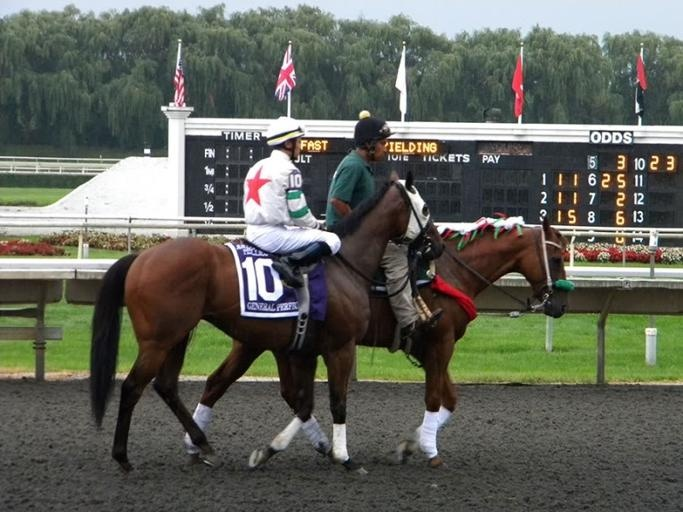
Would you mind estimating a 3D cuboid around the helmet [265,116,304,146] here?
[{"bbox_3d":[-0.705,-1.527,15.147,0.396,0.280,0.308,-16,14,-2],"label":"helmet"}]

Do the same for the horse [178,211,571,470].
[{"bbox_3d":[0.588,1.048,15.653,4.622,3.295,1.231,2,-20,3],"label":"horse"}]

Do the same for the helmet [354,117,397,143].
[{"bbox_3d":[0.398,-1.546,15.391,0.387,0.311,0.294,-16,15,-5],"label":"helmet"}]

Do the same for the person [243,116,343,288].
[{"bbox_3d":[-0.539,-0.650,15.229,1.102,2.103,1.155,1,4,19],"label":"person"}]

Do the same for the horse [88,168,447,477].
[{"bbox_3d":[-1.101,0.763,14.922,3.897,3.443,0.928,-1,14,-6],"label":"horse"}]
